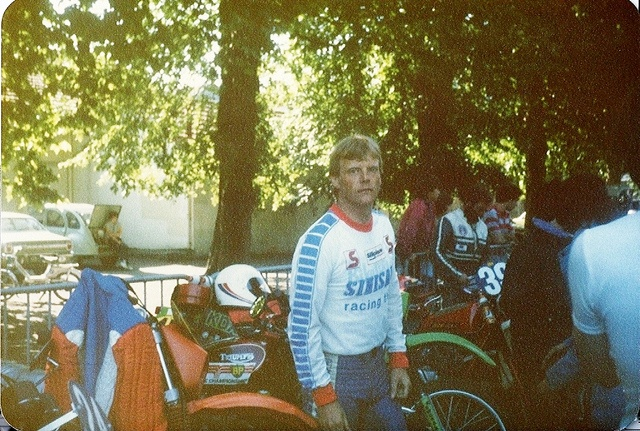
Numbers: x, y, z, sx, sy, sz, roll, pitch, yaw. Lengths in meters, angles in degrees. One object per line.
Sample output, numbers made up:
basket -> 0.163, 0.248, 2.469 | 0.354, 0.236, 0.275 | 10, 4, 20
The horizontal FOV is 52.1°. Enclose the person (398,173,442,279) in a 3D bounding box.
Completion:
person -> 0.718, 0.054, 4.624 | 0.261, 0.933, 0.433 | 5, 15, 18

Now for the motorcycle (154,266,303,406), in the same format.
motorcycle -> -0.536, 0.744, 4.146 | 0.955, 0.763, 0.596 | -2, 1, -3
